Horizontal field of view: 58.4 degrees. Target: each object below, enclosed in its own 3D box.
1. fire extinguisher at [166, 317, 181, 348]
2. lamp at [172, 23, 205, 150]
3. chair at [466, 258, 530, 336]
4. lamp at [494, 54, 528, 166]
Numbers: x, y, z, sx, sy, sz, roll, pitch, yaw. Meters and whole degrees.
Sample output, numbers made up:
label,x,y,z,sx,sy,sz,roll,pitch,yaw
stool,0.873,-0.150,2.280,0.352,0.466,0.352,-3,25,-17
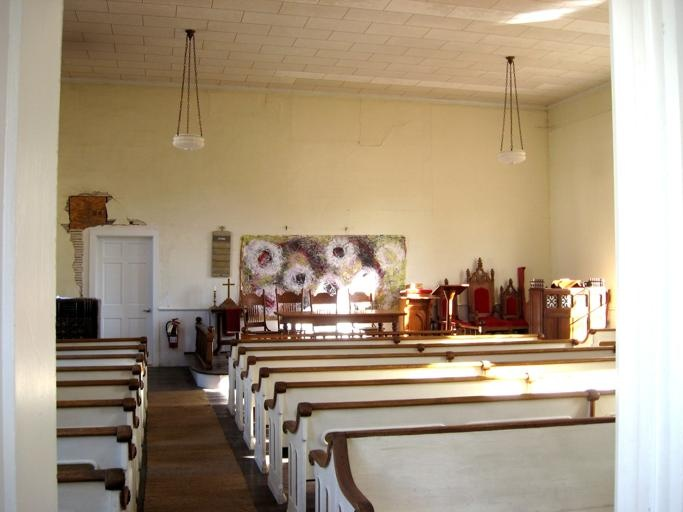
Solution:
label,x,y,z,sx,sy,sz,roll,pitch,yaw
fire extinguisher,-2.851,1.325,10.349,0.230,0.519,0.192,0,-1,-19
lamp,-2.438,-2.720,9.807,0.457,1.909,0.508,0,2,-1
chair,2.968,0.757,11.663,1.087,1.419,0.797,0,-1,-6
lamp,3.178,-2.468,11.389,0.519,1.301,2.185,0,-1,17
